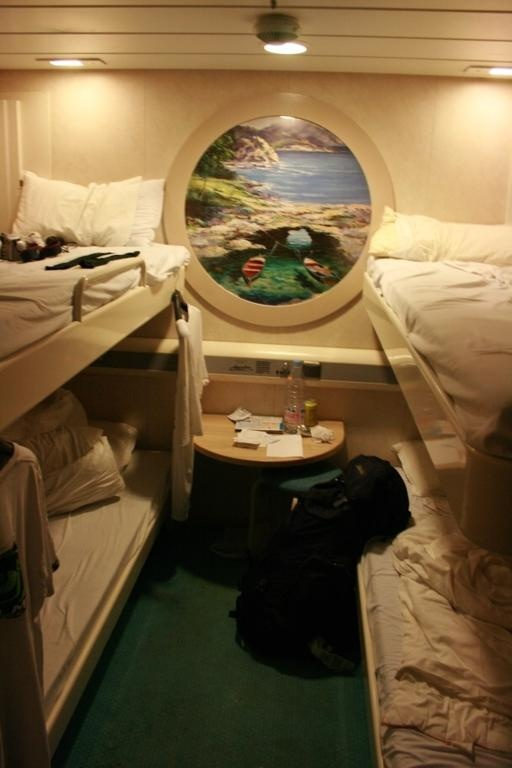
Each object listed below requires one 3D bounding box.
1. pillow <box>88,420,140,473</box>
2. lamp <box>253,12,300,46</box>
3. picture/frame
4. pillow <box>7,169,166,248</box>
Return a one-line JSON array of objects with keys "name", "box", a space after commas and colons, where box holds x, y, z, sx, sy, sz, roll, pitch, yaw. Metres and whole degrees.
[{"name": "pillow", "box": [-0.684, 0.296, 2.754, 0.065, 0.223, 0.219, -25, -27, 39]}, {"name": "lamp", "box": [0.070, -1.208, 1.903, 0.155, 0.051, 0.212, 0, 20, 3]}, {"name": "picture/frame", "box": [0.120, -0.896, 2.747, 1.164, 1.251, 0.023, 2, 17, 3]}, {"name": "pillow", "box": [-0.791, -0.829, 2.673, 0.633, 0.326, 0.480, 1, 20, 6]}]
